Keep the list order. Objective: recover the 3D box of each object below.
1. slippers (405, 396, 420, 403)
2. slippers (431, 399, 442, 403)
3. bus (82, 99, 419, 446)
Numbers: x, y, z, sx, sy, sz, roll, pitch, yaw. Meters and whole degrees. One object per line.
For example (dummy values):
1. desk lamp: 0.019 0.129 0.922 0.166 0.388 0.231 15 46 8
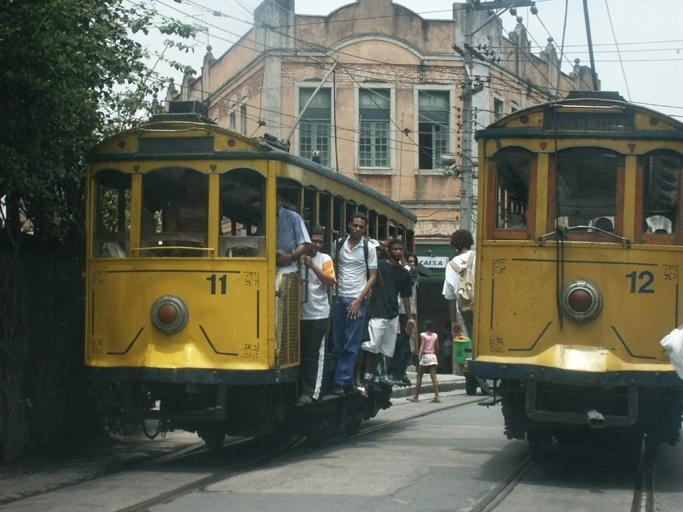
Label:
1. slippers: 1.330 2.697 20.467 0.204 0.193 0.094 8 -8 15
2. slippers: 1.755 2.714 20.290 0.065 0.061 0.127 0 2 -40
3. bus: -1.343 0.267 13.700 3.668 4.381 2.242 0 0 -20
